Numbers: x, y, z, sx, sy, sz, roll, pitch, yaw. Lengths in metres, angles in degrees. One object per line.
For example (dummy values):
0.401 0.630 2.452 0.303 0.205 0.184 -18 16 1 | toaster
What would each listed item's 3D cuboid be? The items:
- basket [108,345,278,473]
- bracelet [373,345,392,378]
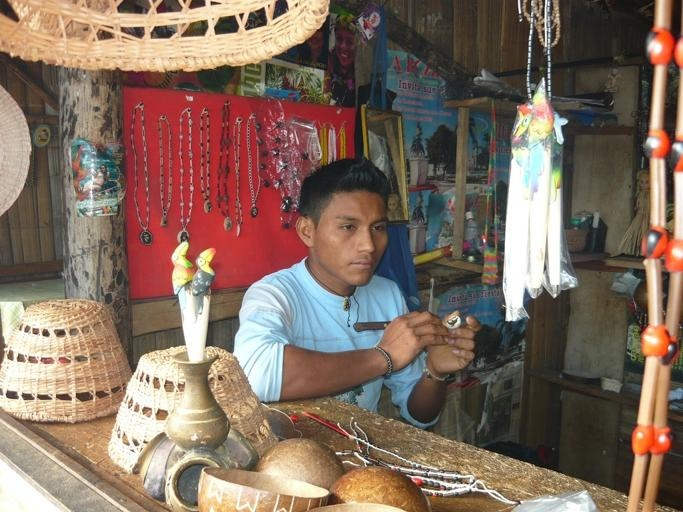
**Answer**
-0.380 0.365 1.514 0.436 0.320 0.276 -2 6 -8 | basket
0.170 0.403 2.344 0.036 0.103 0.083 -14 7 -33 | bracelet
